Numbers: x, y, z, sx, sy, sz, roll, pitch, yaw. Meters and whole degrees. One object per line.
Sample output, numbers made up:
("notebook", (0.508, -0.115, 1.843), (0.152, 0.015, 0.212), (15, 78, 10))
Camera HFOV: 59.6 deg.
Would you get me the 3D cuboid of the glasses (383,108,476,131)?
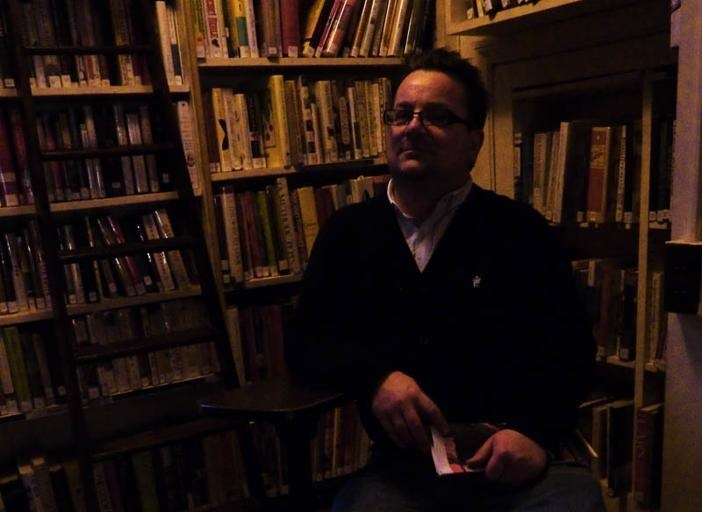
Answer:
("glasses", (0.286, -0.499, 2.208), (0.285, 0.079, 0.101), (-1, 6, 11))
